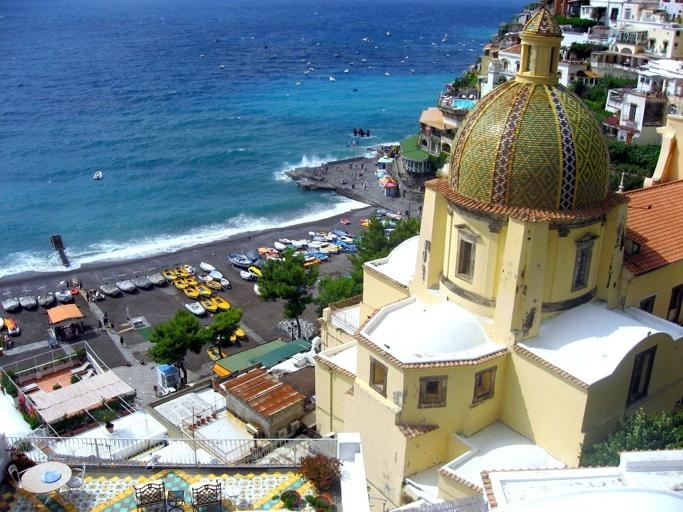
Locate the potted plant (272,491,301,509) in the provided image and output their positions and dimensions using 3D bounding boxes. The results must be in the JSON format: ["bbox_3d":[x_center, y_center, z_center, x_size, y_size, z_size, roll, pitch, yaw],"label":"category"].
[{"bbox_3d":[-1.776,8.432,21.071,0.707,0.288,0.838,-17,28,-30],"label":"potted plant"}]

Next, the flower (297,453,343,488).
[{"bbox_3d":[-0.707,7.484,21.248,1.169,0.638,1.217,26,27,32],"label":"flower"}]

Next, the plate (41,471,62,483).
[{"bbox_3d":[-9.740,7.469,20.573,0.633,0.194,0.464,2,24,10],"label":"plate"}]
